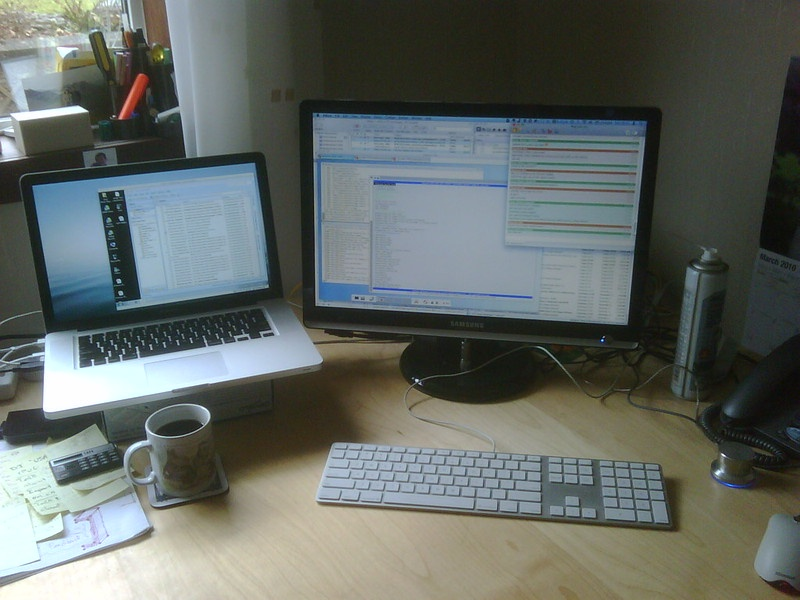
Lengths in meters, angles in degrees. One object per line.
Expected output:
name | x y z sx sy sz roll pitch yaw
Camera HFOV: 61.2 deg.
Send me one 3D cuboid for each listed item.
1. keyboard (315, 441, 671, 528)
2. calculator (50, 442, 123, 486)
keyboard | 0.138 0.283 1.065 0.545 0.016 0.144 1 26 13
calculator | -0.498 0.259 1.078 0.103 0.021 0.073 -10 17 -27
